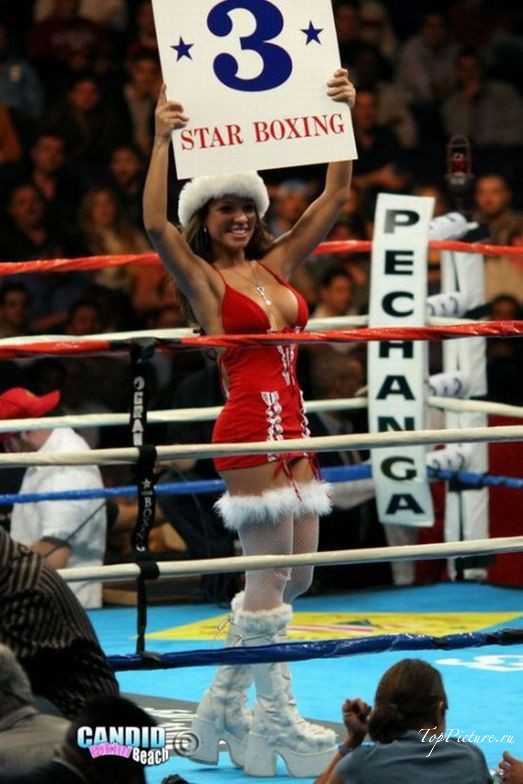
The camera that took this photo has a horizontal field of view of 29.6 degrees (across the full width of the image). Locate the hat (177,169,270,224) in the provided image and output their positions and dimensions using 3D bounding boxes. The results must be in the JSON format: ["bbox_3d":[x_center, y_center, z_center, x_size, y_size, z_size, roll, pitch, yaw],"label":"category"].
[{"bbox_3d":[-0.094,-0.487,2.502,0.226,0.124,0.214,-2,-1,-2],"label":"hat"}]

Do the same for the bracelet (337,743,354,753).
[{"bbox_3d":[0.171,0.722,1.996,0.026,0.017,0.025,-2,4,-28],"label":"bracelet"}]

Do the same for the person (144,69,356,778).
[{"bbox_3d":[0.020,0.114,2.464,0.498,1.766,0.498,-3,-2,3],"label":"person"}]
